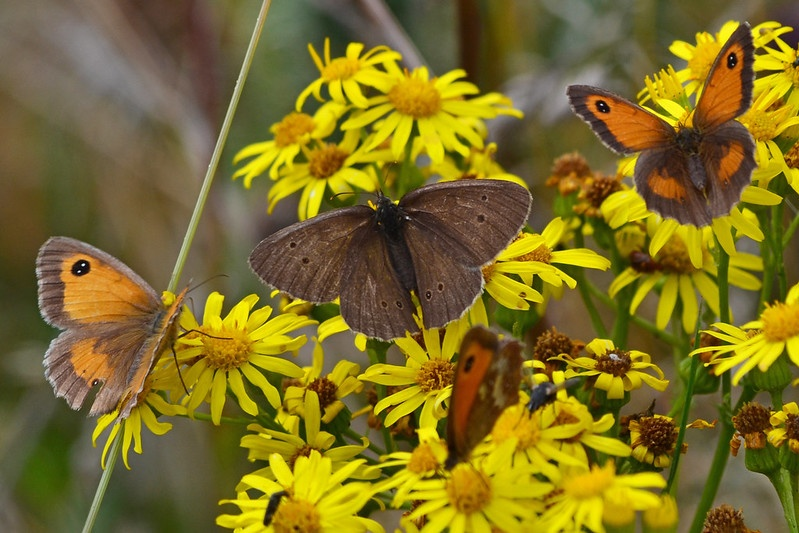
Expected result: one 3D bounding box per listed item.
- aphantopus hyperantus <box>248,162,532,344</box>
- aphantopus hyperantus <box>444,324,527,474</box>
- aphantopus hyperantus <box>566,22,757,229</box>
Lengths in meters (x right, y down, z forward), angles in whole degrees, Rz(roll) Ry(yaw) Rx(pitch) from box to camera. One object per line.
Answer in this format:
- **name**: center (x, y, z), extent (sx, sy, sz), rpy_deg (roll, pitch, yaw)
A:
- **aphantopus hyperantus**: center (0.003, -0.018, 1.154), extent (0.323, 0.104, 0.223), rpy_deg (-17, 77, 3)
- **aphantopus hyperantus**: center (0.085, 0.142, 0.913), extent (0.102, 0.132, 0.050), rpy_deg (28, 19, 35)
- **aphantopus hyperantus**: center (0.328, -0.172, 1.073), extent (0.243, 0.130, 0.315), rpy_deg (9, 75, 23)
